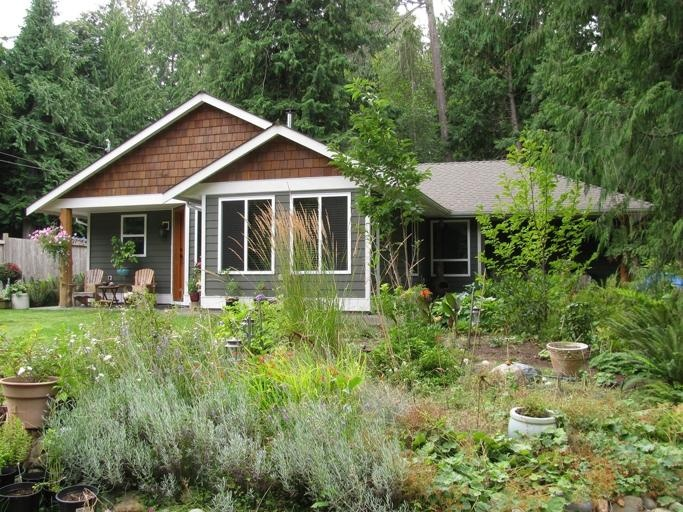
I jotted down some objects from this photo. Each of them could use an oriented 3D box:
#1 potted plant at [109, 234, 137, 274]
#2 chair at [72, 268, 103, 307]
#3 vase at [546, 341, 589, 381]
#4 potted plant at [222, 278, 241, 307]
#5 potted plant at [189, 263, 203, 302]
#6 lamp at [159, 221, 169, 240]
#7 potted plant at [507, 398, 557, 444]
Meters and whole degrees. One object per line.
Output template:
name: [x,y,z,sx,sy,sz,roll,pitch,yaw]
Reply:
potted plant: [-5.347,-0.024,16.786,0.715,1.055,0.810,-1,-7,2]
chair: [-5.968,0.714,16.069,0.522,0.888,0.859,1,-2,-5]
vase: [2.686,1.283,8.218,0.372,0.348,0.417,0,-1,-6]
potted plant: [-2.144,0.717,13.229,0.405,0.656,0.420,0,-7,-1]
potted plant: [-3.304,0.572,15.273,0.288,0.748,1.161,-4,15,-13]
lamp: [-4.353,-0.642,16.818,0.234,0.410,0.238,-5,14,-16]
potted plant: [1.876,1.620,6.728,0.338,0.279,0.358,-5,-5,31]
